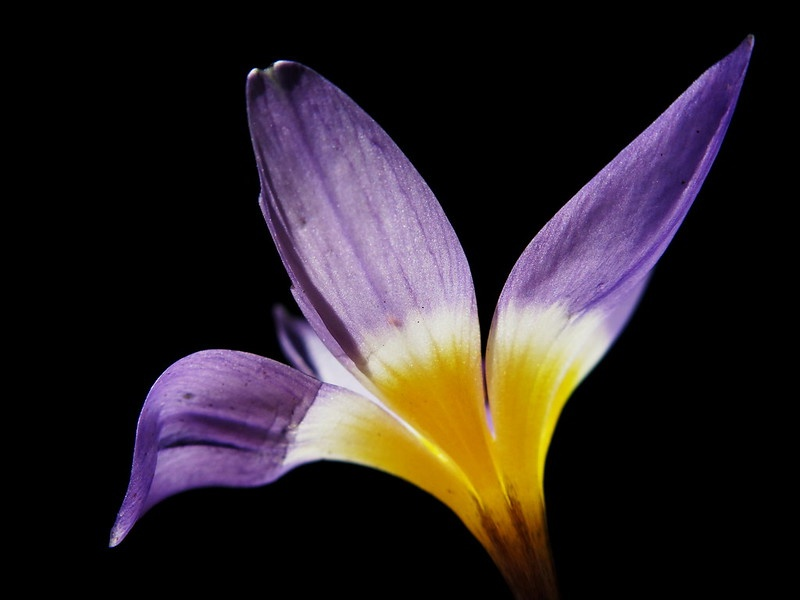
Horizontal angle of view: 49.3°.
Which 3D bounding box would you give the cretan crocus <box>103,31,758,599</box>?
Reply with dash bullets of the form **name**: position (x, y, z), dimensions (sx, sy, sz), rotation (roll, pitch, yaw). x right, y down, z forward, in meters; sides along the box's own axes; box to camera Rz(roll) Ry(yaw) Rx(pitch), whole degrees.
- **cretan crocus**: position (0.014, 0.030, 0.904), dimensions (0.536, 0.619, 0.301), rotation (-34, -39, -15)
